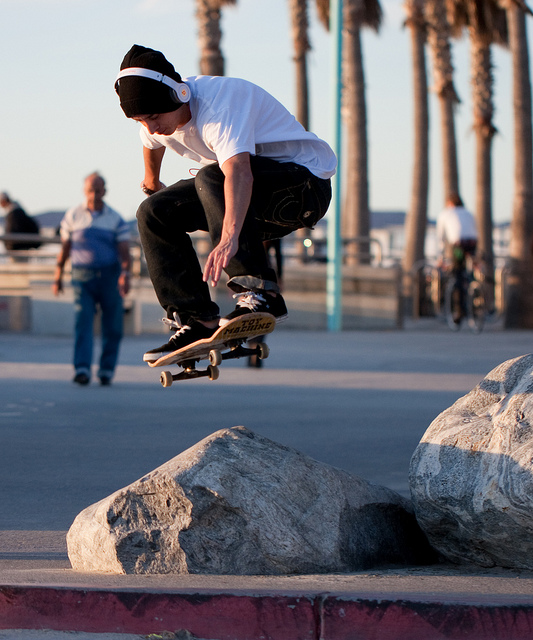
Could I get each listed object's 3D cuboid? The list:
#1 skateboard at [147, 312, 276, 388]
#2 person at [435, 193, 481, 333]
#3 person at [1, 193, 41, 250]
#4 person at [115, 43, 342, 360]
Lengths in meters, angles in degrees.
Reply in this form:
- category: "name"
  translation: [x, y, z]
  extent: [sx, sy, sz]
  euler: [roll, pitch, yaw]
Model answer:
- category: "skateboard"
  translation: [-0.211, 0.127, 8.626]
  extent: [0.585, 0.352, 0.486]
  euler: [2, 5, 34]
- category: "person"
  translation: [1.969, -0.579, 18.834]
  extent: [0.434, 1.377, 1.564]
  euler: [0, 4, 6]
- category: "person"
  translation: [-2.243, -0.909, 16.823]
  extent: [0.347, 0.499, 0.989]
  euler: [-1, 4, -8]
- category: "person"
  translation: [-0.156, -0.590, 8.669]
  extent: [1.116, 1.478, 1.561]
  euler: [-10, 4, -6]
